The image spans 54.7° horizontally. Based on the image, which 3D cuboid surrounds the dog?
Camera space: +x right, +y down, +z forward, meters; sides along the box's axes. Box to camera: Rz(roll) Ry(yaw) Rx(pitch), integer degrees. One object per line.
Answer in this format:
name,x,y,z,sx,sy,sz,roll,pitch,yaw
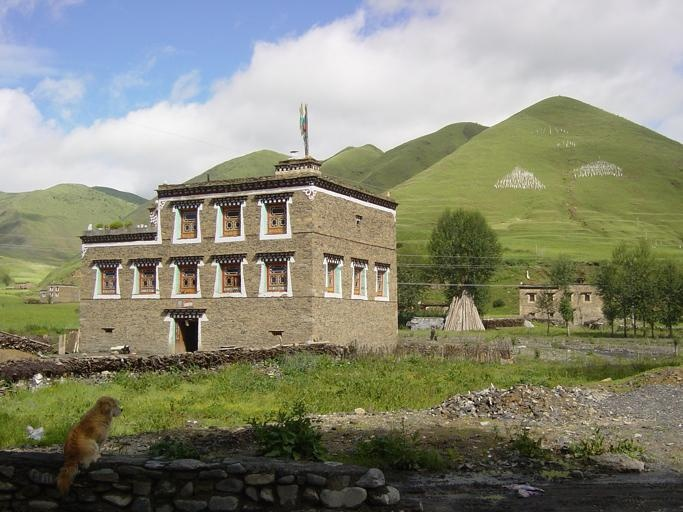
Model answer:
dog,-5.738,4.259,14.792,1.189,2.135,0.501,3,-11,-19
